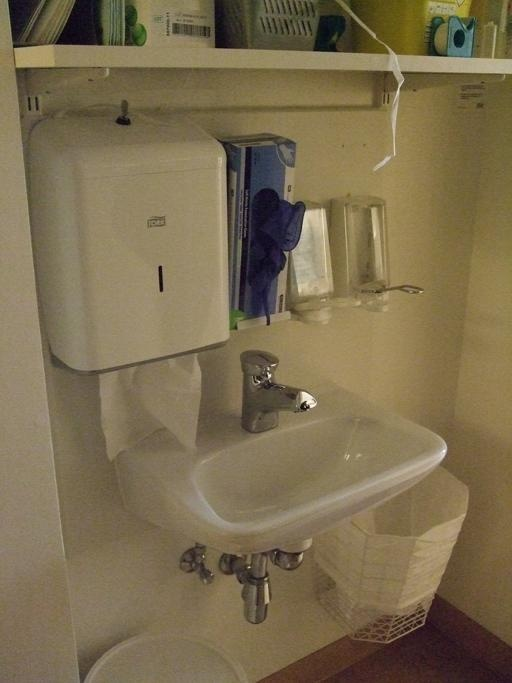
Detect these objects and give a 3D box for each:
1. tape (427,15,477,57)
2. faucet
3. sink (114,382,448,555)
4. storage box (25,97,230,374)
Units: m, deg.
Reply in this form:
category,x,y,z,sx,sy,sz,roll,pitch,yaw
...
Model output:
category,x,y,z,sx,sy,sz,roll,pitch,yaw
tape,0.288,-0.449,0.951,0.049,0.056,0.083,15,26,30
faucet,0.050,0.073,1.048,0.072,0.132,0.205,-14,18,-33
sink,0.048,0.199,1.015,0.455,0.153,0.263,-13,26,-31
storage box,-0.162,-0.130,0.778,0.302,0.346,0.206,-14,26,-32
